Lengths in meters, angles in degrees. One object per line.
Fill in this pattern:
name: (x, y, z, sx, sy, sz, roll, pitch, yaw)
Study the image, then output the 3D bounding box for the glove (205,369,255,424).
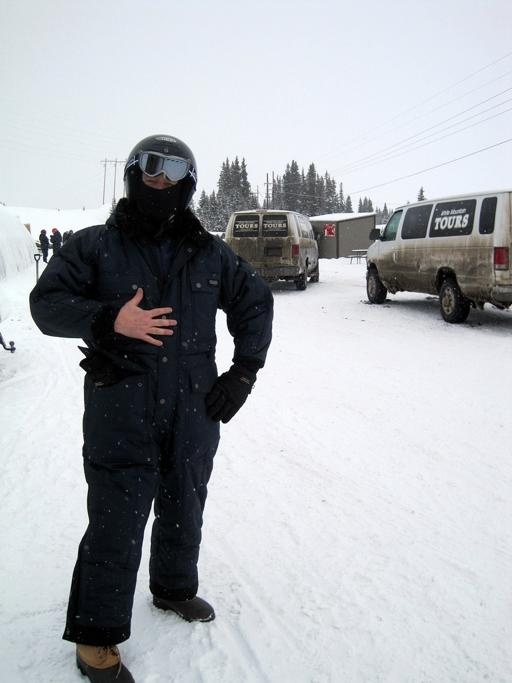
glove: (-0.101, 0.200, 1.952, 0.057, 0.139, 0.224, -6, 35, 47)

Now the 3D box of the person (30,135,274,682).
person: (-0.372, 0.183, 1.936, 0.450, 1.936, 0.853, 7, 9, 43)

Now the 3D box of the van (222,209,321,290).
van: (0.665, -2.653, 14.691, 1.779, 1.986, 3.773, 1, 15, 8)

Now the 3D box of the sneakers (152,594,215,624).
sneakers: (-0.311, 1.086, 2.137, 0.230, 0.123, 0.109, 1, 2, 6)
